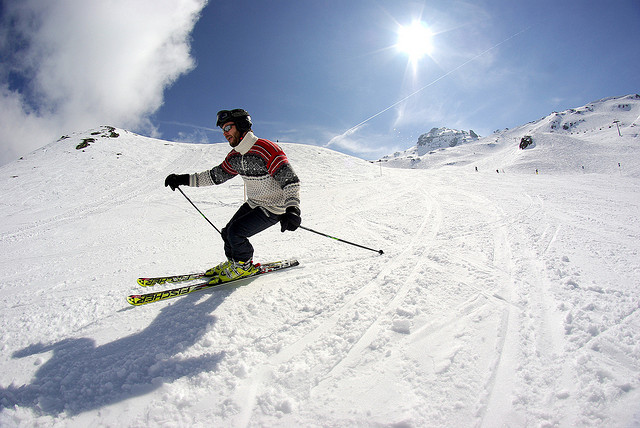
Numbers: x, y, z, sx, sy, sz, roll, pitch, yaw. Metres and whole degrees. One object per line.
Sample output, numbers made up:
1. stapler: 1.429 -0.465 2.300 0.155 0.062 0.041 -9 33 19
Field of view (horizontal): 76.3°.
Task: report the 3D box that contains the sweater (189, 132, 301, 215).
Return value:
1. sweater: -1.499 -0.983 9.364 2.518 1.797 0.540 13 16 34
